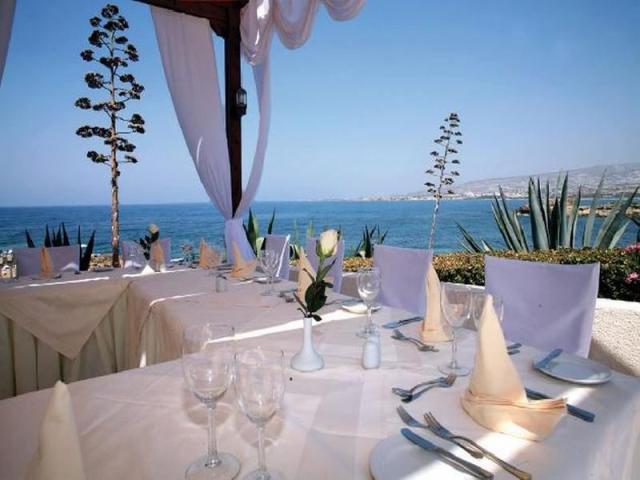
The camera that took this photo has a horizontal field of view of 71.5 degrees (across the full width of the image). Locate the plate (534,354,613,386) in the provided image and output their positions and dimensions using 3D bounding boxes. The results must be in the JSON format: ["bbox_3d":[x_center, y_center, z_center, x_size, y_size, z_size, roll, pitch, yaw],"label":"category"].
[{"bbox_3d":[0.861,0.448,1.535,0.231,0.031,0.238,-8,8,-41],"label":"plate"}]

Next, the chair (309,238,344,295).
[{"bbox_3d":[0.042,0.196,3.121,0.187,0.436,0.211,-4,10,-44],"label":"chair"}]

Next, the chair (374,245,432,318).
[{"bbox_3d":[0.540,0.249,2.882,0.343,0.607,0.376,1,-1,35],"label":"chair"}]

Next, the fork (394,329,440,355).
[{"bbox_3d":[0.364,0.402,1.755,0.053,0.055,0.275,-17,9,-21],"label":"fork"}]

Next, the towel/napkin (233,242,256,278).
[{"bbox_3d":[-0.497,0.160,3.040,0.205,0.255,0.179,1,-4,-2],"label":"towel/napkin"}]

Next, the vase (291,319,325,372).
[{"bbox_3d":[-0.044,0.363,1.573,0.130,0.201,0.157,0,-2,-1],"label":"vase"}]

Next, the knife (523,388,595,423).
[{"bbox_3d":[0.746,0.496,1.388,0.121,0.085,0.171,5,-2,-29],"label":"knife"}]

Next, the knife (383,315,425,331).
[{"bbox_3d":[0.377,0.348,1.963,0.262,0.037,0.064,-8,17,-38],"label":"knife"}]

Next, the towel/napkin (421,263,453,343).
[{"bbox_3d":[0.461,0.263,1.787,0.114,0.319,0.118,2,7,-29],"label":"towel/napkin"}]

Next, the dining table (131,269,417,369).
[{"bbox_3d":[-0.334,0.413,2.463,1.076,0.459,1.278,2,3,-26],"label":"dining table"}]

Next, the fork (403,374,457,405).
[{"bbox_3d":[0.348,0.483,1.450,0.239,0.062,0.070,-10,6,-31],"label":"fork"}]

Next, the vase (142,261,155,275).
[{"bbox_3d":[-1.222,0.208,3.182,0.043,0.118,0.147,-8,-11,-3],"label":"vase"}]

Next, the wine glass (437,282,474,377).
[{"bbox_3d":[0.483,0.317,1.598,0.107,0.350,0.120,-12,16,-38],"label":"wine glass"}]

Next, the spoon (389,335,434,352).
[{"bbox_3d":[0.353,0.406,1.794,0.046,0.048,0.293,-15,4,-19],"label":"spoon"}]

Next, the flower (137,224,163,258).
[{"bbox_3d":[-1.205,0.006,3.100,0.120,0.297,0.256,6,-10,-25],"label":"flower"}]

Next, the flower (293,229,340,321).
[{"bbox_3d":[-0.001,0.137,1.524,0.114,0.333,0.165,14,3,-15],"label":"flower"}]
